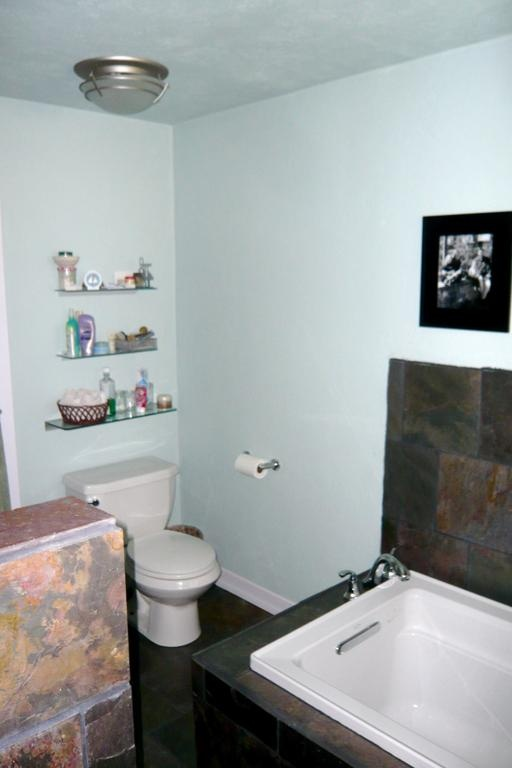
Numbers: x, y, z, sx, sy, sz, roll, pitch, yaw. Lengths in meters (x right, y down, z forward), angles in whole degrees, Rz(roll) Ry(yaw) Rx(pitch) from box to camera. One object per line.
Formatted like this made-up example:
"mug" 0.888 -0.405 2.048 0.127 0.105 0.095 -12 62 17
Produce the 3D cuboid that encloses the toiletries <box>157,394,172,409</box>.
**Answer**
"toiletries" -0.486 0.097 3.200 0.069 0.062 0.070 2 0 -31

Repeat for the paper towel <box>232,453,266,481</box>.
"paper towel" -0.040 0.357 2.667 0.150 0.107 0.098 7 32 47

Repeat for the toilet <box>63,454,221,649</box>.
"toilet" -0.480 0.809 2.857 0.494 0.744 0.747 -14 18 -40

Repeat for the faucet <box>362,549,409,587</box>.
"faucet" 0.454 0.648 2.137 0.108 0.099 0.150 -3 6 -26

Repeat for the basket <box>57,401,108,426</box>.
"basket" -0.806 0.136 2.822 0.218 0.118 0.111 -5 5 -14

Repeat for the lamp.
"lamp" -0.468 -1.039 2.153 0.326 0.158 0.344 8 16 21

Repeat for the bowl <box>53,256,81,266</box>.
"bowl" -0.862 -0.565 2.736 0.112 0.065 0.110 -4 5 0

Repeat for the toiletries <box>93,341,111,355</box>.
"toiletries" -0.749 -0.175 2.948 0.064 0.049 0.066 1 4 20

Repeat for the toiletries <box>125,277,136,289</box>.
"toiletries" -0.621 -0.504 2.997 0.056 0.065 0.037 -5 5 -19

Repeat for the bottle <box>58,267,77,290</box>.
"bottle" -0.859 -0.479 2.763 0.070 0.104 0.057 -6 5 -27

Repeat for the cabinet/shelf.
"cabinet/shelf" -0.740 -0.136 2.999 0.192 0.692 0.663 6 10 35
